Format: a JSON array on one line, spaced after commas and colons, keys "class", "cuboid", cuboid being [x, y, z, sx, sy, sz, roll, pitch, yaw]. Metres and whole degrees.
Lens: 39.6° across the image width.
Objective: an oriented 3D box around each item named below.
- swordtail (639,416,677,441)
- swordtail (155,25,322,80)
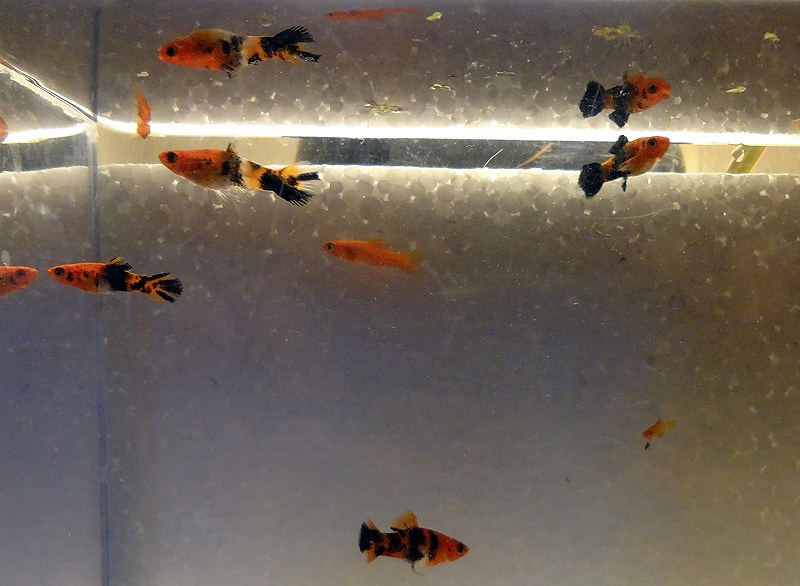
[{"class": "swordtail", "cuboid": [0.762, 0.401, 3.271, 0.093, 0.049, 0.051, -33, -44, 10]}, {"class": "swordtail", "cuboid": [-0.455, -0.709, 3.246, 0.299, 0.090, 0.112, -2, -27, -5]}]
